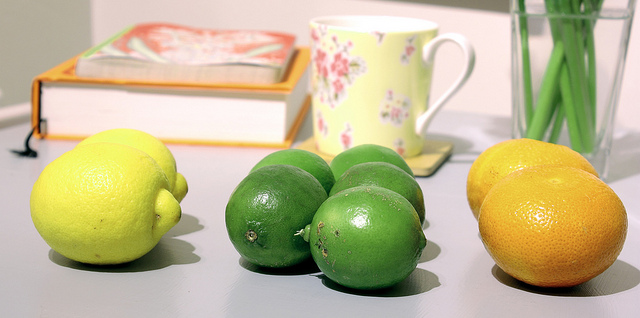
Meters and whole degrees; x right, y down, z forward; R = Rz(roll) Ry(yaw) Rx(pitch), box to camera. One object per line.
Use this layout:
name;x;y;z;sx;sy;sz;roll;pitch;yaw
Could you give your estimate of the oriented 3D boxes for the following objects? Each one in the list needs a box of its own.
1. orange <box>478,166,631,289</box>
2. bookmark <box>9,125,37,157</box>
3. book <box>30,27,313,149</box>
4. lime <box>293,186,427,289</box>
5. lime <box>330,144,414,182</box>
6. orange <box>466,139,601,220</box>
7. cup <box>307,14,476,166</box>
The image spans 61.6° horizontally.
orange;0.344;0.100;0.835;0.208;0.125;0.186;-10;11;-6
bookmark;-0.606;-0.034;1.091;0.057;0.037;0.073;-14;35;-22
book;-0.324;-0.210;1.367;0.604;0.196;0.696;-1;20;-1
lime;0.064;0.107;0.879;0.212;0.132;0.172;-4;9;2
lime;0.082;-0.006;0.907;0.173;0.063;0.099;-1;6;-2
orange;0.330;0.006;0.831;0.179;0.112;0.154;2;1;9
cup;0.152;-0.154;1.165;0.294;0.253;0.386;-15;24;-43
